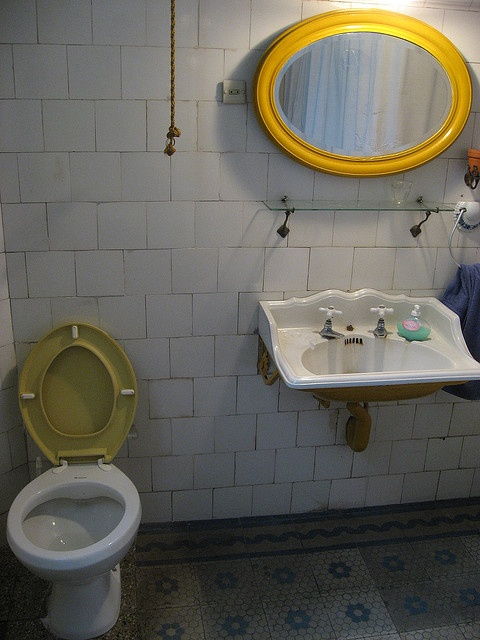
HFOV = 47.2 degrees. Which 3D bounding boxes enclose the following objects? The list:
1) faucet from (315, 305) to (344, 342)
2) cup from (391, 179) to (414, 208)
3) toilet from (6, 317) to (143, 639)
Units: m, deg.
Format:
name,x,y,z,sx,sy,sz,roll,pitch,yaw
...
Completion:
name,x,y,z,sx,sy,sz,roll,pitch,yaw
faucet,0.330,-0.010,1.995,0.091,0.117,0.170,2,18,6
cup,0.548,-0.452,1.935,0.082,0.104,0.087,1,16,0
toilet,-0.503,0.397,1.660,0.383,0.633,0.580,-3,18,-10
